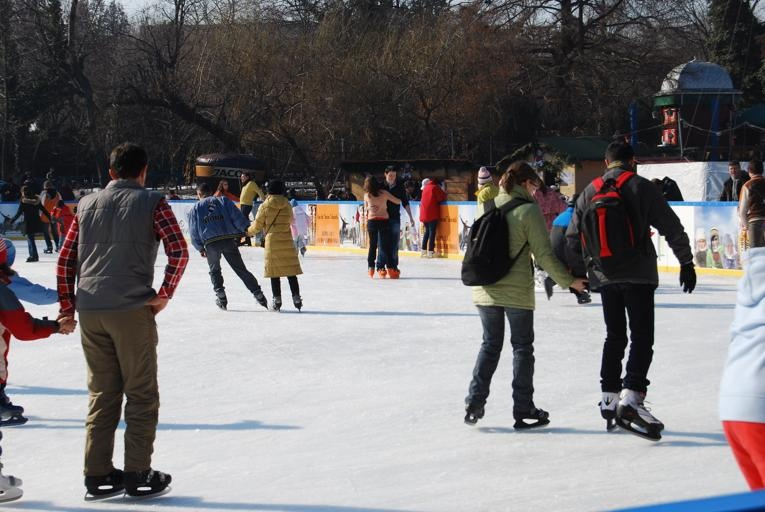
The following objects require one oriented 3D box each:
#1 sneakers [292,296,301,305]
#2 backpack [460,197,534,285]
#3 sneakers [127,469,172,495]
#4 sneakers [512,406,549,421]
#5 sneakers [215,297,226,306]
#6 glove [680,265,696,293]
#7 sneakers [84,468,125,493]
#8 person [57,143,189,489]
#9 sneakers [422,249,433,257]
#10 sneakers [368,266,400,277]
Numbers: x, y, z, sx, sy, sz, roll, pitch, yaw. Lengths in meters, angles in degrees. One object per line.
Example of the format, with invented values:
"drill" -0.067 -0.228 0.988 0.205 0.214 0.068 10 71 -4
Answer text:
"sneakers" -1.303 0.644 16.206 0.140 0.195 0.115 -4 -8 8
"backpack" 1.138 -0.150 10.745 0.660 0.888 0.350 0 10 4
"sneakers" -2.122 1.984 9.598 0.359 0.244 0.197 -6 12 -19
"sneakers" 1.498 1.558 10.784 0.362 0.162 0.130 -5 8 -11
"sneakers" -2.553 0.676 16.728 0.150 0.170 0.232 -1 10 -6
"glove" 3.073 0.184 10.697 0.208 0.323 0.106 -3 13 0
"sneakers" -2.453 1.998 9.492 0.169 0.175 0.389 5 7 42
"person" -2.332 0.545 9.614 1.127 3.068 0.858 -2 10 -10
"sneakers" 1.046 -0.095 24.819 0.320 0.177 0.110 7 12 37
"sneakers" -0.002 0.290 20.701 0.662 0.293 0.222 1 8 7
